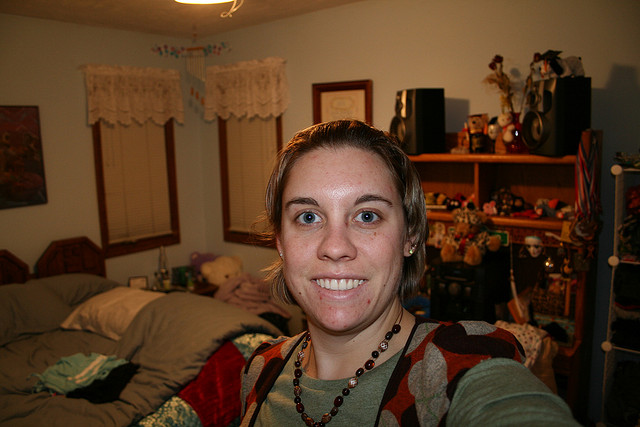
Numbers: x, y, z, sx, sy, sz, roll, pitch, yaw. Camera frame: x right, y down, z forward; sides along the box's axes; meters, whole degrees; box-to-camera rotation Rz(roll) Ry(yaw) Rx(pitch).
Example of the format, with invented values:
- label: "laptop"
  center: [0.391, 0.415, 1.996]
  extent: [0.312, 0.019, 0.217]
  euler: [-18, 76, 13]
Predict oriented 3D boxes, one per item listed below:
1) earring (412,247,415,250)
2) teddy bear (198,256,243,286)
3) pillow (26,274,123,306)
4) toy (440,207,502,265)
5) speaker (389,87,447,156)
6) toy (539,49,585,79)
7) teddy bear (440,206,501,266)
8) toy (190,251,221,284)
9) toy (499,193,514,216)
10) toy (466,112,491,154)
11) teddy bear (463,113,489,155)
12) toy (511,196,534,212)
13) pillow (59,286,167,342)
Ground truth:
- label: "earring"
  center: [0.459, 0.170, 2.412]
  extent: [0.010, 0.014, 0.017]
  euler: [-3, -7, 33]
- label: "teddy bear"
  center: [-1.291, 0.711, 6.242]
  extent: [0.412, 0.164, 0.424]
  euler: [19, 34, 35]
- label: "pillow"
  center: [-2.860, 0.876, 5.748]
  extent: [1.289, 0.291, 1.300]
  euler: [-2, -6, -24]
- label: "toy"
  center: [1.308, 0.205, 4.308]
  extent: [0.570, 0.466, 0.347]
  euler: [6, 13, 38]
- label: "speaker"
  center: [0.904, -0.878, 4.700]
  extent: [0.360, 0.610, 0.646]
  euler: [-7, 14, -13]
- label: "toy"
  center: [1.900, -1.173, 3.829]
  extent: [0.312, 0.202, 0.118]
  euler: [1, 9, 23]
- label: "teddy bear"
  center: [1.306, 0.201, 4.310]
  extent: [0.556, 0.499, 0.343]
  euler: [7, 12, 43]
- label: "toy"
  center: [-1.547, 0.688, 6.541]
  extent: [0.111, 0.413, 0.417]
  euler: [-23, -16, 40]
- label: "toy"
  center: [1.644, -0.077, 4.288]
  extent: [0.116, 0.176, 0.067]
  euler: [2, 0, -3]
- label: "toy"
  center: [1.425, -0.720, 4.410]
  extent: [0.202, 0.370, 0.201]
  euler: [-3, -1, 21]
- label: "teddy bear"
  center: [1.413, -0.742, 4.409]
  extent: [0.212, 0.366, 0.213]
  euler: [1, 13, 21]
- label: "toy"
  center: [1.781, -0.053, 4.284]
  extent: [0.142, 0.101, 0.140]
  euler: [-28, -25, 37]
- label: "pillow"
  center: [-2.050, 0.946, 5.029]
  extent: [1.086, 0.308, 0.993]
  euler: [6, 13, -7]
